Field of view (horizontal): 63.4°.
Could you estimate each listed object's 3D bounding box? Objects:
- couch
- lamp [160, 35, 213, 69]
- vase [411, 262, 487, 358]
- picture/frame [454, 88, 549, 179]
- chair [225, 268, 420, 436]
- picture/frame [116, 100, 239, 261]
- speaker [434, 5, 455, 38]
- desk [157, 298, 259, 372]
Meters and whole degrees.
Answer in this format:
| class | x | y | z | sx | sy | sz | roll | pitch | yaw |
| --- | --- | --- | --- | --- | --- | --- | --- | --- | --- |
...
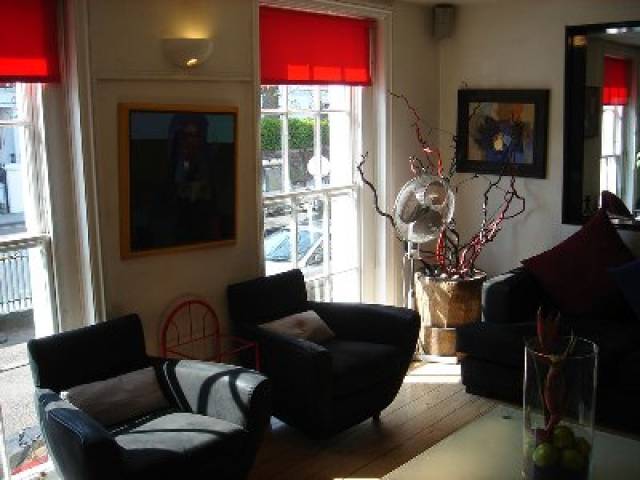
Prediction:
| class | x | y | z | sx | sy | sz | roll | pitch | yaw |
| --- | --- | --- | --- | --- | --- | --- | --- | --- | --- |
| couch | 1.564 | 0.716 | 3.534 | 0.971 | 0.812 | 1.041 | -4 | 8 | -45 |
| lamp | -0.830 | -1.183 | 3.244 | 0.205 | 0.121 | 0.211 | 0 | 8 | -13 |
| vase | 1.041 | 0.579 | 4.583 | 0.691 | 0.725 | 0.688 | -1 | 7 | -8 |
| picture/frame | 1.648 | -0.974 | 4.611 | 0.790 | 0.841 | 0.055 | 8 | 12 | 41 |
| chair | 0.046 | 0.717 | 3.626 | 1.049 | 0.992 | 1.069 | 0 | 5 | 41 |
| picture/frame | -0.932 | -0.406 | 3.295 | 0.955 | 1.177 | 0.076 | -6 | 12 | -39 |
| speaker | 1.129 | -2.001 | 4.702 | 0.180 | 0.272 | 0.109 | -3 | 7 | 0 |
| desk | -0.745 | 0.616 | 3.403 | 0.377 | 0.729 | 0.363 | 3 | 10 | 40 |
